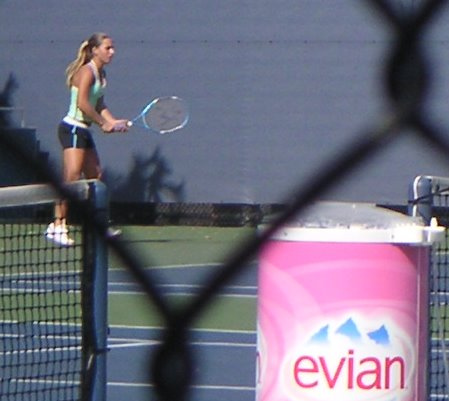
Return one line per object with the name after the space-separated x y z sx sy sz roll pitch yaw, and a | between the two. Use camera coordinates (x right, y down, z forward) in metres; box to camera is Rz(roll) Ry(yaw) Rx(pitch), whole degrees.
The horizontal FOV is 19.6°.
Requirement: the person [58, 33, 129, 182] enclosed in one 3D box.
-1.183 -0.808 11.523 0.586 1.284 0.641 -1 -2 5 | person

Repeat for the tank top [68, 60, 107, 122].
-1.203 -0.906 11.422 0.283 0.549 0.260 18 -7 -16 | tank top
